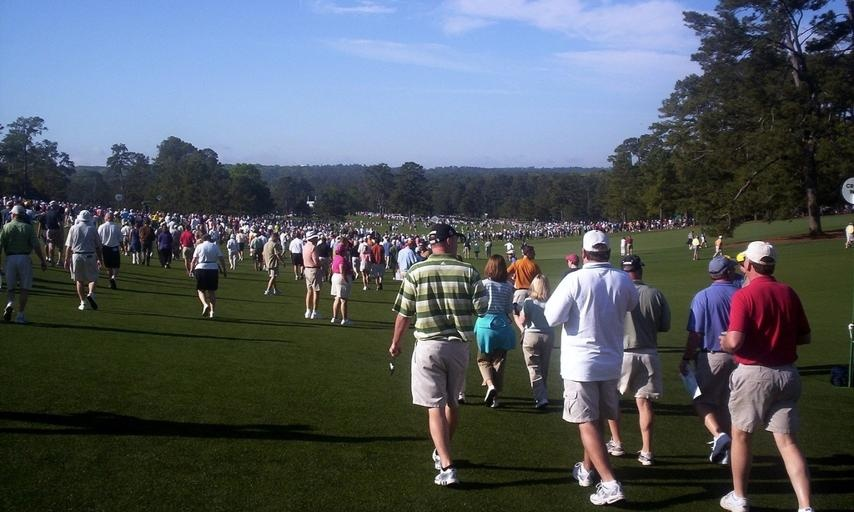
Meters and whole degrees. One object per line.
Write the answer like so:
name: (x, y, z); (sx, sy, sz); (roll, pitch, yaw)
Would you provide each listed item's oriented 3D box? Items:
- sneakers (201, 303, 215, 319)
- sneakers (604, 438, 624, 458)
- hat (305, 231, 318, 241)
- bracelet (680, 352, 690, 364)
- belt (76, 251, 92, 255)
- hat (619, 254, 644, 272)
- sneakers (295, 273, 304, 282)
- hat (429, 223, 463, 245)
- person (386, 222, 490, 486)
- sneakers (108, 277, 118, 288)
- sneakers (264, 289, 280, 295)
sneakers: (-5.885, 1.502, 21.927); (0.216, 0.503, 0.216); (7, 15, -17)
sneakers: (3.279, 3.349, 14.228); (0.238, 0.264, 0.546); (0, 4, -9)
hat: (-3.316, -0.589, 23.436); (0.318, 0.247, 0.638); (4, 4, -12)
bracelet: (4.493, 1.772, 14.005); (0.172, 0.167, 0.178); (1, 9, -19)
belt: (-8.578, -0.084, 20.342); (0.345, 0.089, 0.073); (2, 5, -33)
hat: (3.736, 0.150, 14.707); (0.270, 0.220, 0.417); (8, 16, 34)
sneakers: (-5.488, 0.897, 34.837); (0.198, 0.245, 0.578); (2, 4, -3)
hat: (0.295, -0.382, 13.871); (0.487, 0.276, 0.334); (-3, 8, -30)
person: (0.185, 1.581, 13.533); (1.381, 4.228, 0.925); (6, 4, 11)
sneakers: (-9.915, 0.838, 25.609); (0.139, 0.372, 0.256); (-1, 38, -9)
sneakers: (-5.365, 1.252, 28.293); (0.548, 0.244, 0.213); (-2, 5, -30)
